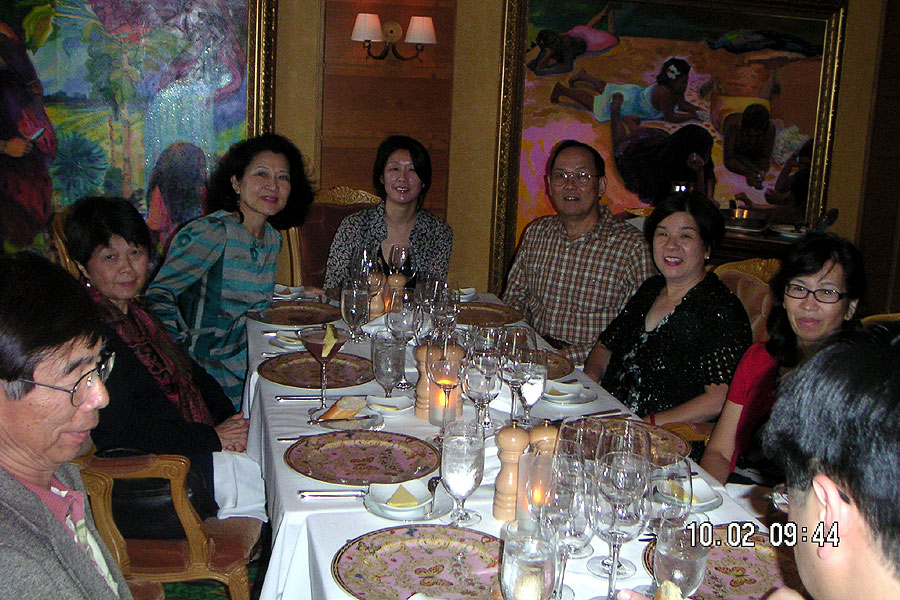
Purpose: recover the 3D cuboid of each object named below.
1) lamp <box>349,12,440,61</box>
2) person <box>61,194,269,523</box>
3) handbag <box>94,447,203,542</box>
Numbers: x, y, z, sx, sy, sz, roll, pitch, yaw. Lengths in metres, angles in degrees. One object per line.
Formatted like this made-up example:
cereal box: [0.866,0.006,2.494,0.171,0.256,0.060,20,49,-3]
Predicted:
lamp: [-0.420,-1.987,5.113,0.655,0.338,0.228,1,16,-4]
person: [-1.094,0.328,2.687,0.832,1.386,0.616,7,21,10]
handbag: [-0.958,0.654,2.330,0.376,0.338,0.267,1,0,-7]
